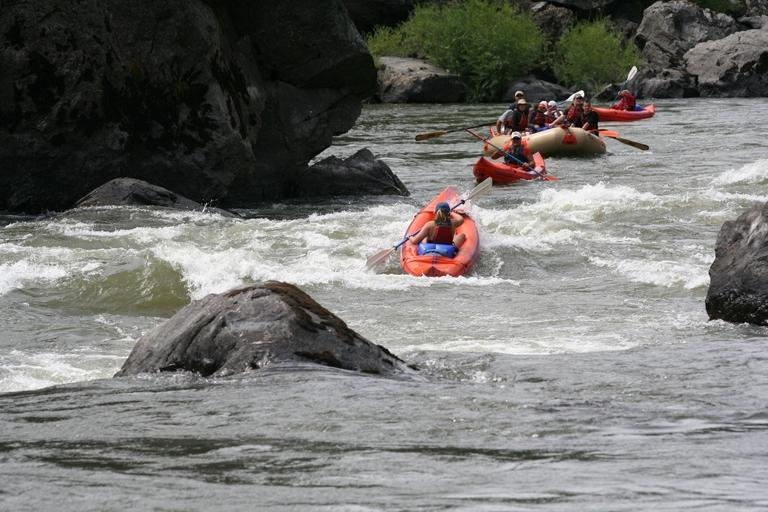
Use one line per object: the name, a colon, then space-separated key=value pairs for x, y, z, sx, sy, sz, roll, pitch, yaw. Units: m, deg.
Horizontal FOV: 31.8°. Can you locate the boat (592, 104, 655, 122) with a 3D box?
boat: x=7.334 y=-4.316 z=41.421 sx=1.713 sy=0.455 sz=1.532 roll=1 pitch=11 yaw=-1

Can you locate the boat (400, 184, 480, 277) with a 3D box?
boat: x=0.978 y=-0.383 z=23.961 sx=1.102 sy=0.385 sz=2.688 roll=4 pitch=27 yaw=11

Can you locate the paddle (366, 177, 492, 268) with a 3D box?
paddle: x=0.760 y=-0.558 z=24.791 sx=3.499 sy=0.435 sz=0.227 roll=-28 pitch=32 yaw=-12
